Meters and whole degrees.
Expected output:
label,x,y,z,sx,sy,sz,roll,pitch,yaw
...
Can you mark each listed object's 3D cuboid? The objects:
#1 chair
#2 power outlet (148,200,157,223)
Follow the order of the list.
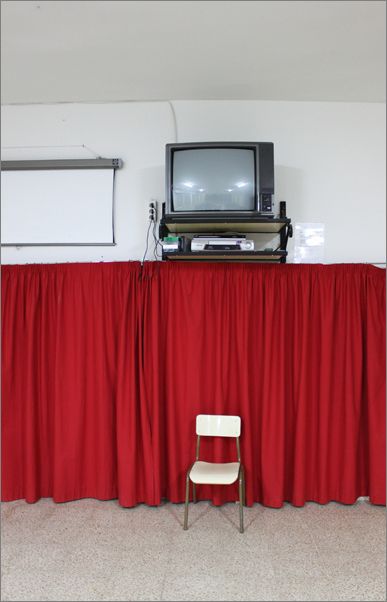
label,x,y,z,sx,sy,sz,roll,pitch,yaw
chair,0.136,1.077,3.913,0.367,0.583,0.527,1,15,6
power outlet,-0.283,-0.614,4.264,0.055,0.139,0.057,-2,13,-6
